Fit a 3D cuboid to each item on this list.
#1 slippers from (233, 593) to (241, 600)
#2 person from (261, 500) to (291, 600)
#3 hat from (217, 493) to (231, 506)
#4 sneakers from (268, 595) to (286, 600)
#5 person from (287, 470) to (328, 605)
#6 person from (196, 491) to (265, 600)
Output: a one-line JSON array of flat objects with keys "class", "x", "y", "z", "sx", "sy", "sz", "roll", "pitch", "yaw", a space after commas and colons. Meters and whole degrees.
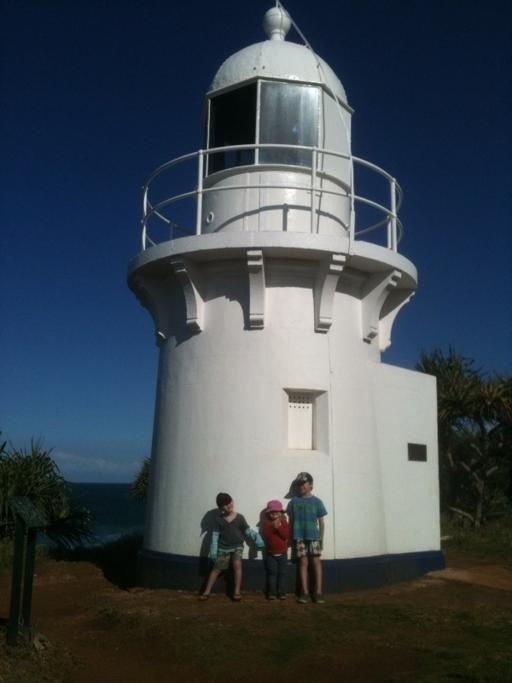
[{"class": "slippers", "x": -0.269, "y": 3.646, "z": 9.471, "sx": 0.105, "sy": 0.093, "sz": 0.222, "roll": -2, "pitch": -10, "yaw": -2}, {"class": "person", "x": 0.298, "y": 3.062, "z": 9.781, "sx": 0.364, "sy": 1.358, "sz": 0.393, "roll": -2, "pitch": -9, "yaw": 3}, {"class": "hat", "x": -0.468, "y": 2.323, "z": 9.892, "sx": 0.171, "sy": 0.198, "sz": 0.175, "roll": -9, "pitch": -2, "yaw": 39}, {"class": "sneakers", "x": 0.294, "y": 3.685, "z": 9.503, "sx": 0.271, "sy": 0.059, "sz": 0.125, "roll": -2, "pitch": -10, "yaw": 1}, {"class": "person", "x": 0.778, "y": 2.866, "z": 9.879, "sx": 0.584, "sy": 1.806, "sz": 0.839, "roll": -1, "pitch": -9, "yaw": -4}, {"class": "person", "x": -0.373, "y": 3.051, "z": 9.748, "sx": 0.785, "sy": 1.615, "sz": 0.487, "roll": 3, "pitch": -40, "yaw": -5}]
